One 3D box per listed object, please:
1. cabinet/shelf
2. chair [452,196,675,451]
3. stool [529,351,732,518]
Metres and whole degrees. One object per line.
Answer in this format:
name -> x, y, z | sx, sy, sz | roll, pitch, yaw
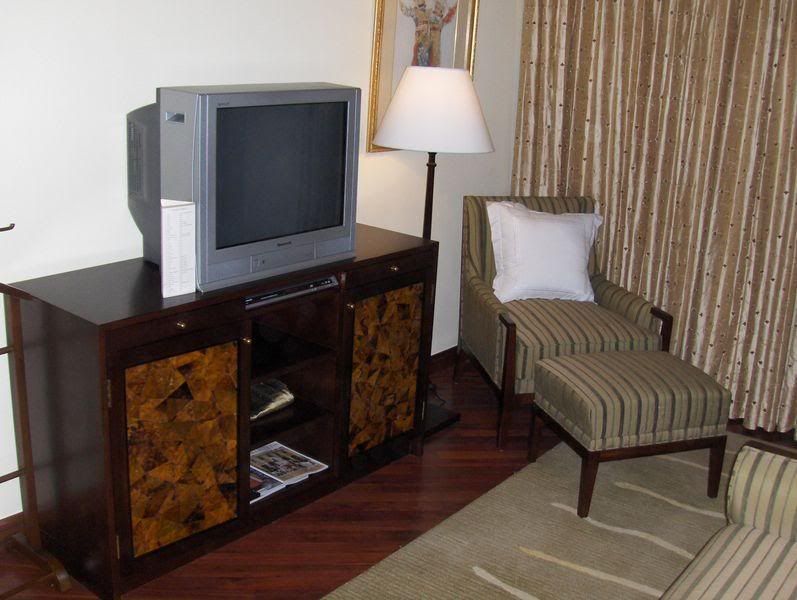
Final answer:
cabinet/shelf -> -0.743, 0.446, 2.710 | 0.430, 0.810, 1.183 | 16, 25, 39
chair -> 0.733, 0.075, 4.090 | 1.190, 1.716, 1.276 | -6, 19, -16
stool -> 1.077, 0.579, 3.458 | 0.900, 0.733, 0.673 | -8, 26, -14
